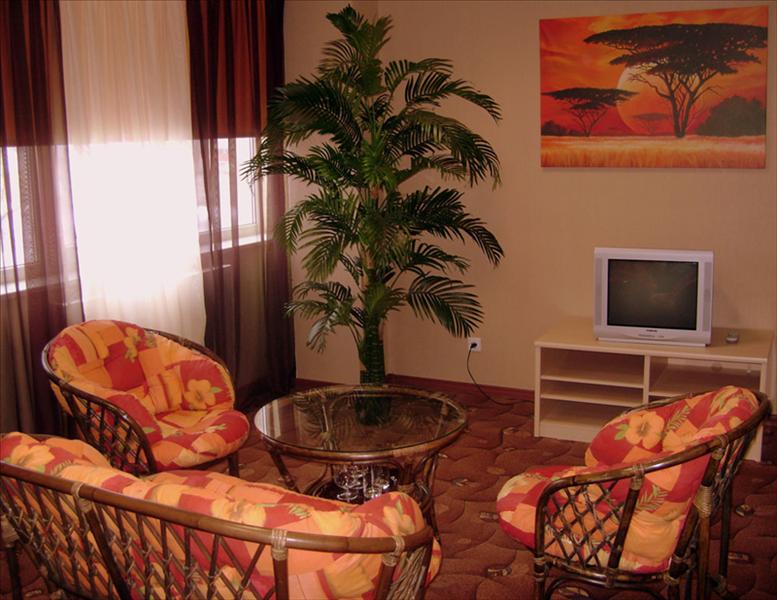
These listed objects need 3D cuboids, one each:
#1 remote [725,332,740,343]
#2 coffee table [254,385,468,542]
[{"bbox_3d":[2.079,0.223,3.703,0.060,0.017,0.061,3,31,38],"label":"remote"},{"bbox_3d":[-0.142,0.587,2.769,0.766,0.561,0.704,-14,20,-43],"label":"coffee table"}]
